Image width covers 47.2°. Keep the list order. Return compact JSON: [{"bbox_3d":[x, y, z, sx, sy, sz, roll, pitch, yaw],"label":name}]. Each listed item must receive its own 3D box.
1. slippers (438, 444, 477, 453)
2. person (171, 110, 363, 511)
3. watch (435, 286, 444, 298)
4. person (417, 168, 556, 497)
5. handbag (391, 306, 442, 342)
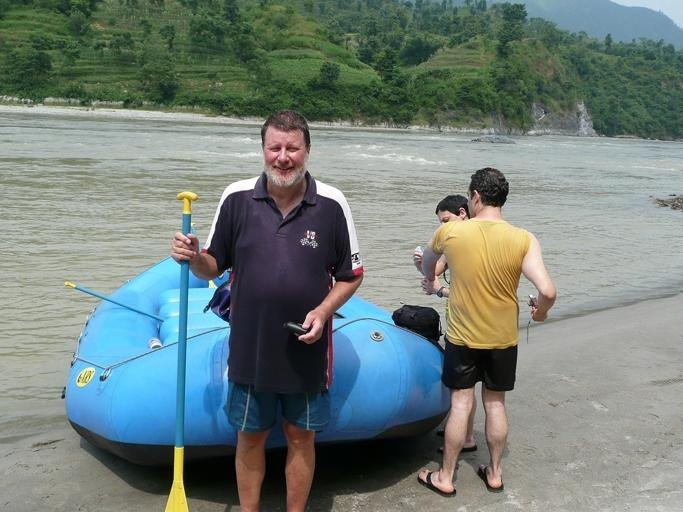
[{"bbox_3d":[0.877,1.418,5.796,0.287,0.093,0.095,4,0,-8],"label":"slippers"},{"bbox_3d":[-0.387,0.344,4.722,1.009,2.394,0.533,2,14,1],"label":"person"},{"bbox_3d":[0.724,0.256,5.585,0.051,0.074,0.074,5,10,-4],"label":"watch"},{"bbox_3d":[0.969,0.489,5.278,0.856,2.132,0.493,4,14,7],"label":"person"},{"bbox_3d":[0.589,0.480,5.791,0.320,0.281,0.299,3,-28,5],"label":"handbag"}]
